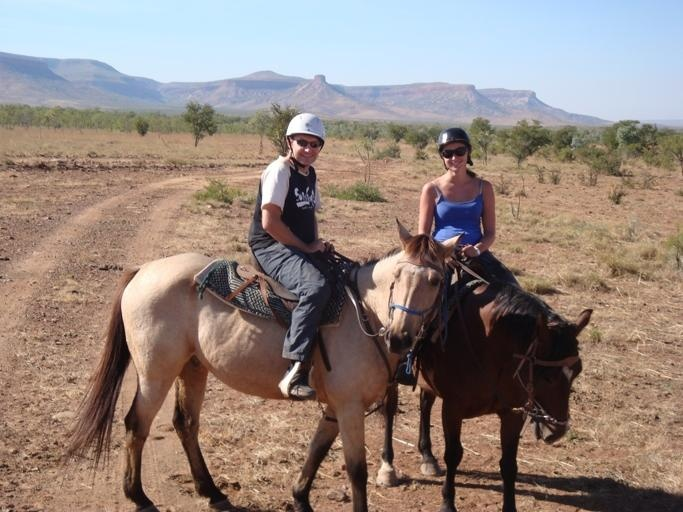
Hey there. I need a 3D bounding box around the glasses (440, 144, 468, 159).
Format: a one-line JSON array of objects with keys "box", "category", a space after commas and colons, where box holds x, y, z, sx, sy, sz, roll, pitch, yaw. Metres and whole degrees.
[{"box": [1.473, -1.369, 8.237, 0.345, 0.191, 0.142, 5, 16, 6], "category": "glasses"}]

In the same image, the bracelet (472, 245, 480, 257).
[{"box": [1.742, -0.074, 8.139, 0.029, 0.108, 0.113, -31, 54, -3], "category": "bracelet"}]

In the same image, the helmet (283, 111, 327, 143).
[{"box": [-0.431, -1.629, 7.835, 0.323, 0.310, 0.429, 3, 5, -8], "category": "helmet"}]

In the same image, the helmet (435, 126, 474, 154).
[{"box": [1.464, -1.585, 8.315, 0.277, 0.427, 0.302, 0, 16, 3], "category": "helmet"}]
